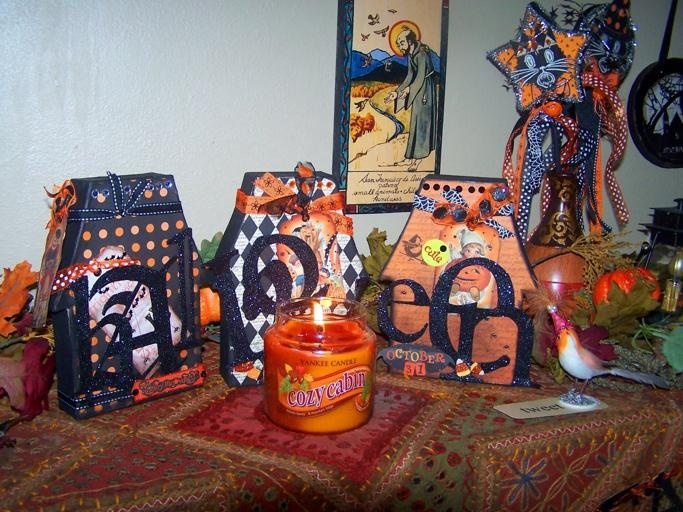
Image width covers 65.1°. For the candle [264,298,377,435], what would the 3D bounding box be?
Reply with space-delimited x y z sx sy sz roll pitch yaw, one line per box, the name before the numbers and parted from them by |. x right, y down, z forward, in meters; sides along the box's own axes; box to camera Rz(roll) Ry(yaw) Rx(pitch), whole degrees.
candle | -0.032 0.192 1.011 0.210 0.193 0.205 1 6 2
